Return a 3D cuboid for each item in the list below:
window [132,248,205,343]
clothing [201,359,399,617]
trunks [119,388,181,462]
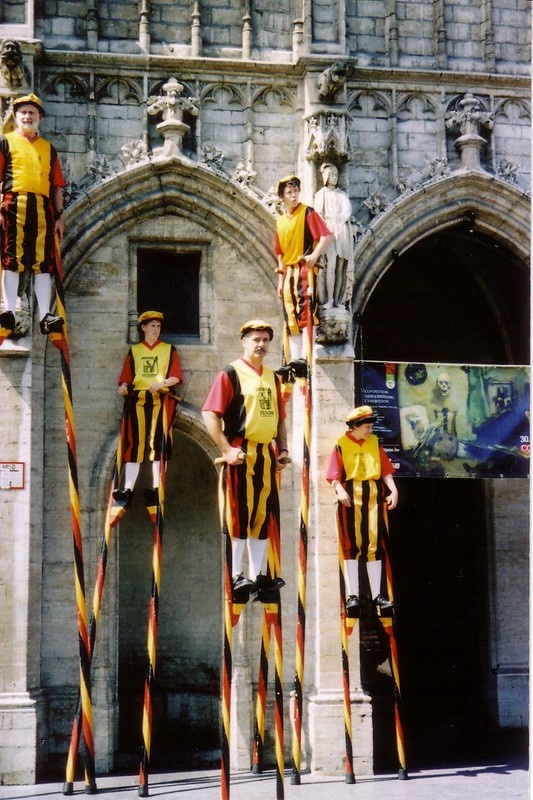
[{"bbox_3d":[-0.932,-1.011,20.773,0.823,1.230,0.055,0,-14,-9],"label":"window"},{"bbox_3d":[0.371,0.707,19.335,1.628,2.141,0.578,24,-32,-38],"label":"clothing"},{"bbox_3d":[-1.081,0.191,19.975,0.466,0.880,0.295,5,-23,-14],"label":"trunks"}]
